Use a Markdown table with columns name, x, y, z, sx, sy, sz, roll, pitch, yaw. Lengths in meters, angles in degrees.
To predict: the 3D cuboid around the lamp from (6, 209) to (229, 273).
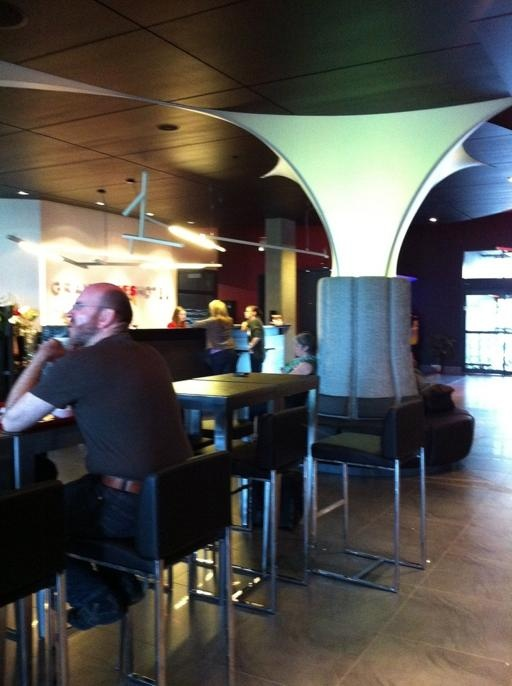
| name | x | y | z | sx | sy | sz | roll | pitch | yaw |
| --- | --- | --- | --- | --- | --- | --- | --- | --- | --- |
| lamp | -2.510 | -1.334 | 9.192 | 2.954 | 0.707 | 1.629 | 2 | 4 | 43 |

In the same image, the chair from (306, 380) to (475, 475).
| name | x | y | z | sx | sy | sz | roll | pitch | yaw |
| --- | --- | --- | --- | --- | --- | --- | --- | --- | --- |
| chair | 1.667 | 0.768 | 5.826 | 0.796 | 0.610 | 0.760 | -6 | 9 | -32 |

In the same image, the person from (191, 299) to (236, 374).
| name | x | y | z | sx | sy | sz | roll | pitch | yaw |
| --- | --- | --- | --- | --- | --- | --- | --- | --- | --- |
| person | -0.533 | -0.075 | 8.237 | 0.465 | 0.966 | 0.617 | 0 | 3 | 11 |

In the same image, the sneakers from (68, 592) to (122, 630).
| name | x | y | z | sx | sy | sz | roll | pitch | yaw |
| --- | --- | --- | --- | --- | --- | --- | --- | --- | --- |
| sneakers | -0.535 | 0.882 | 2.038 | 0.170 | 0.053 | 0.125 | -17 | -20 | 24 |

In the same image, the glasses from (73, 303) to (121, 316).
| name | x | y | z | sx | sy | sz | roll | pitch | yaw |
| --- | --- | --- | --- | --- | --- | --- | --- | --- | --- |
| glasses | -0.527 | -0.102 | 2.086 | 0.096 | 0.032 | 0.071 | -4 | 0 | 22 |
